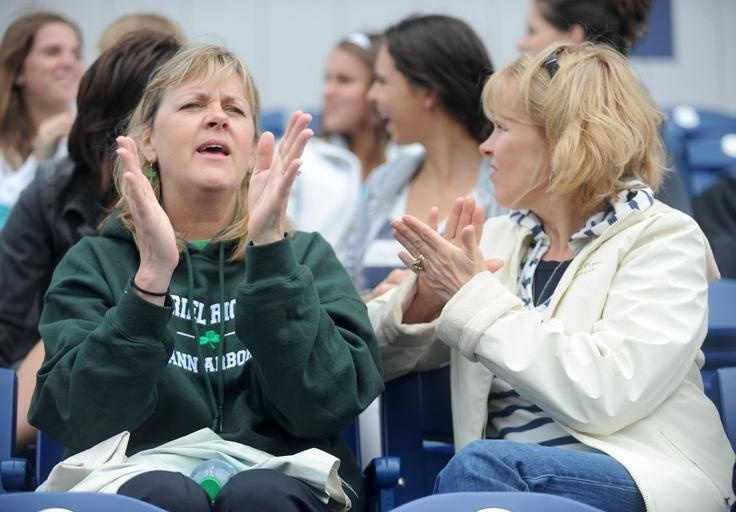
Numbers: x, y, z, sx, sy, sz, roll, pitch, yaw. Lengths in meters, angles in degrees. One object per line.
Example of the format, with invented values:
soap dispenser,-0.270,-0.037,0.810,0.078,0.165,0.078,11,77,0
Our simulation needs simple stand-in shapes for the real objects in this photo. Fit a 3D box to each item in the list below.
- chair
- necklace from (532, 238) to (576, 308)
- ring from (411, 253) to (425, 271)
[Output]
chair,0.049,0.188,6.148,2.854,1.733,1.128,-2,7,-12
necklace,0.794,0.119,6.382,0.130,0.218,0.227,6,4,10
ring,0.211,0.026,6.290,0.024,0.065,0.046,6,30,-30
